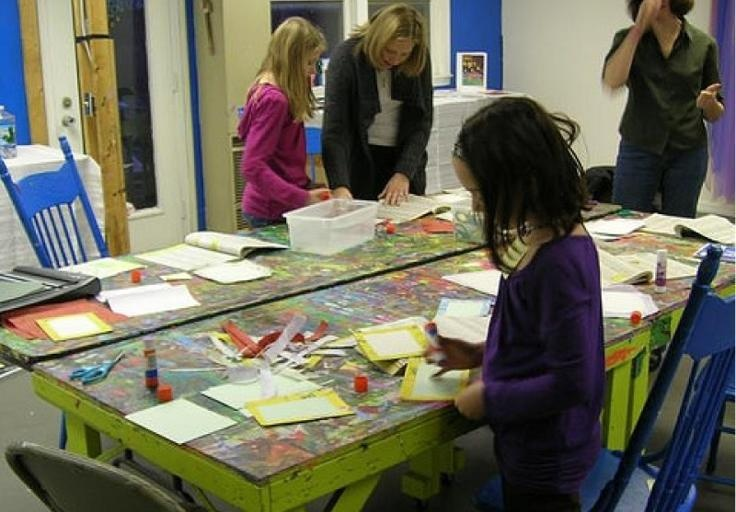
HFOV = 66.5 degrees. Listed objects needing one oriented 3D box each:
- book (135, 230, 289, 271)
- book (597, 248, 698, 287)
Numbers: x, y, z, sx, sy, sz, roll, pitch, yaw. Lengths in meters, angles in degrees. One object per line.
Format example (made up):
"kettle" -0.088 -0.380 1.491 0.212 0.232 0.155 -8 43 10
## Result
"book" -0.684 -0.021 2.345 0.301 0.033 0.287 -17 19 -42
"book" 1.019 0.038 2.090 0.208 0.046 0.222 -9 21 -22
